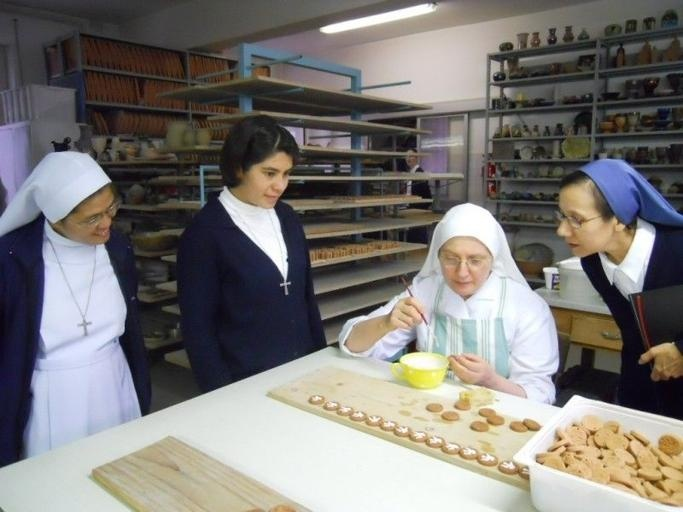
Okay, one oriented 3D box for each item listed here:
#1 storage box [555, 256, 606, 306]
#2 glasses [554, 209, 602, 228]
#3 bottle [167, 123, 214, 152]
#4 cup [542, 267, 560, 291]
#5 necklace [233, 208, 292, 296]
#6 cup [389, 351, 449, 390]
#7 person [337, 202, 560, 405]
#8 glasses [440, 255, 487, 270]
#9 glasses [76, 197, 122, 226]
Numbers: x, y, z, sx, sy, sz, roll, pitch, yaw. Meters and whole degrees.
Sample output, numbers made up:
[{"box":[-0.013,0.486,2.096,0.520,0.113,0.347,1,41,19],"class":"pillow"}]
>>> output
[{"box":[1.360,0.143,2.908,0.335,0.320,0.326,-2,7,5],"class":"storage box"},{"box":[0.828,-0.123,1.667,0.125,0.050,0.050,8,16,36],"class":"glasses"},{"box":[-1.373,-1.072,4.450,0.452,0.259,0.269,-3,6,-30],"class":"bottle"},{"box":[1.340,0.140,3.087,0.121,0.113,0.129,-1,0,0],"class":"cup"},{"box":[-0.329,-0.066,2.020,0.135,0.468,0.065,7,-38,-35],"class":"necklace"},{"box":[0.256,0.373,1.559,0.138,0.057,0.114,-4,9,12],"class":"cup"},{"box":[0.419,0.308,1.858,0.727,0.975,0.570,2,14,22],"class":"person"},{"box":[0.440,0.018,1.729,0.169,0.048,0.060,1,13,12],"class":"glasses"},{"box":[-0.879,-0.165,1.752,0.082,0.088,0.185,-2,13,1],"class":"glasses"}]
